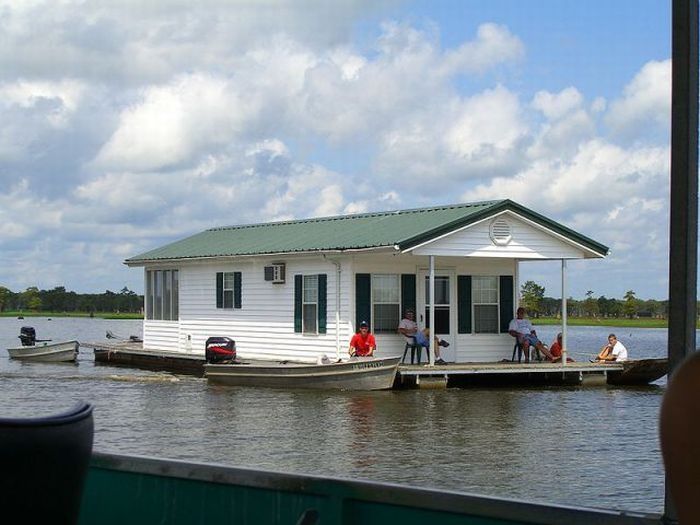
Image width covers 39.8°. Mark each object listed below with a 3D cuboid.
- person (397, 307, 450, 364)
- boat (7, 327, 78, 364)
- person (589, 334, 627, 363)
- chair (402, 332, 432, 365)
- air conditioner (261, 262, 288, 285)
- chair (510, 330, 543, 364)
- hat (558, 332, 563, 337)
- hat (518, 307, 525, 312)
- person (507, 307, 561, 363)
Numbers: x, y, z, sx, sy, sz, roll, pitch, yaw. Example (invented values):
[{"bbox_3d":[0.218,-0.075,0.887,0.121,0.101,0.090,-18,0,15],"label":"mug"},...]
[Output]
[{"bbox_3d":[1.566,1.586,21.484,0.989,1.157,1.278,-1,0,12],"label":"person"},{"bbox_3d":[-9.724,2.728,31.102,1.238,1.034,2.830,1,1,-43],"label":"boat"},{"bbox_3d":[6.463,2.099,23.864,1.073,0.825,0.701,-2,-4,-9],"label":"person"},{"bbox_3d":[1.487,1.859,21.578,0.680,0.863,0.721,-2,1,-23],"label":"chair"},{"bbox_3d":[-1.806,0.243,23.485,0.190,0.513,0.562,5,-6,-45],"label":"air conditioner"},{"bbox_3d":[4.234,1.989,23.177,0.800,0.981,0.755,-7,-5,34],"label":"chair"},{"bbox_3d":[5.057,1.733,23.509,0.135,0.126,0.130,-1,3,-15],"label":"hat"},{"bbox_3d":[4.022,1.086,22.937,0.099,0.100,0.131,-1,-13,0],"label":"hat"},{"bbox_3d":[4.269,1.681,23.180,1.203,1.266,1.123,-1,0,-16],"label":"person"}]
